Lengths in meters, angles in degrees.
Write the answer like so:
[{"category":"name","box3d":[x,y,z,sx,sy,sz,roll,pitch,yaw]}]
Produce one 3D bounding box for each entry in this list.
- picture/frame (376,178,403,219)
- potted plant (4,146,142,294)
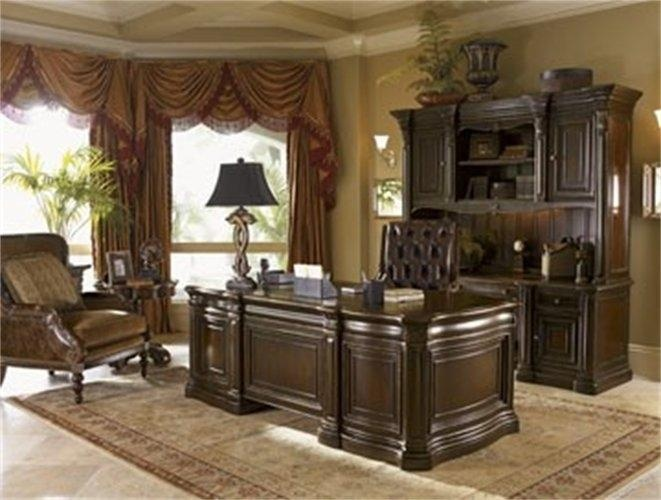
[{"category":"picture/frame","box3d":[0.731,-0.623,6.910,0.504,0.609,0.044,2,3,38]},{"category":"potted plant","box3d":[-3.139,-0.388,6.798,1.399,1.878,1.730,5,5,38]}]
